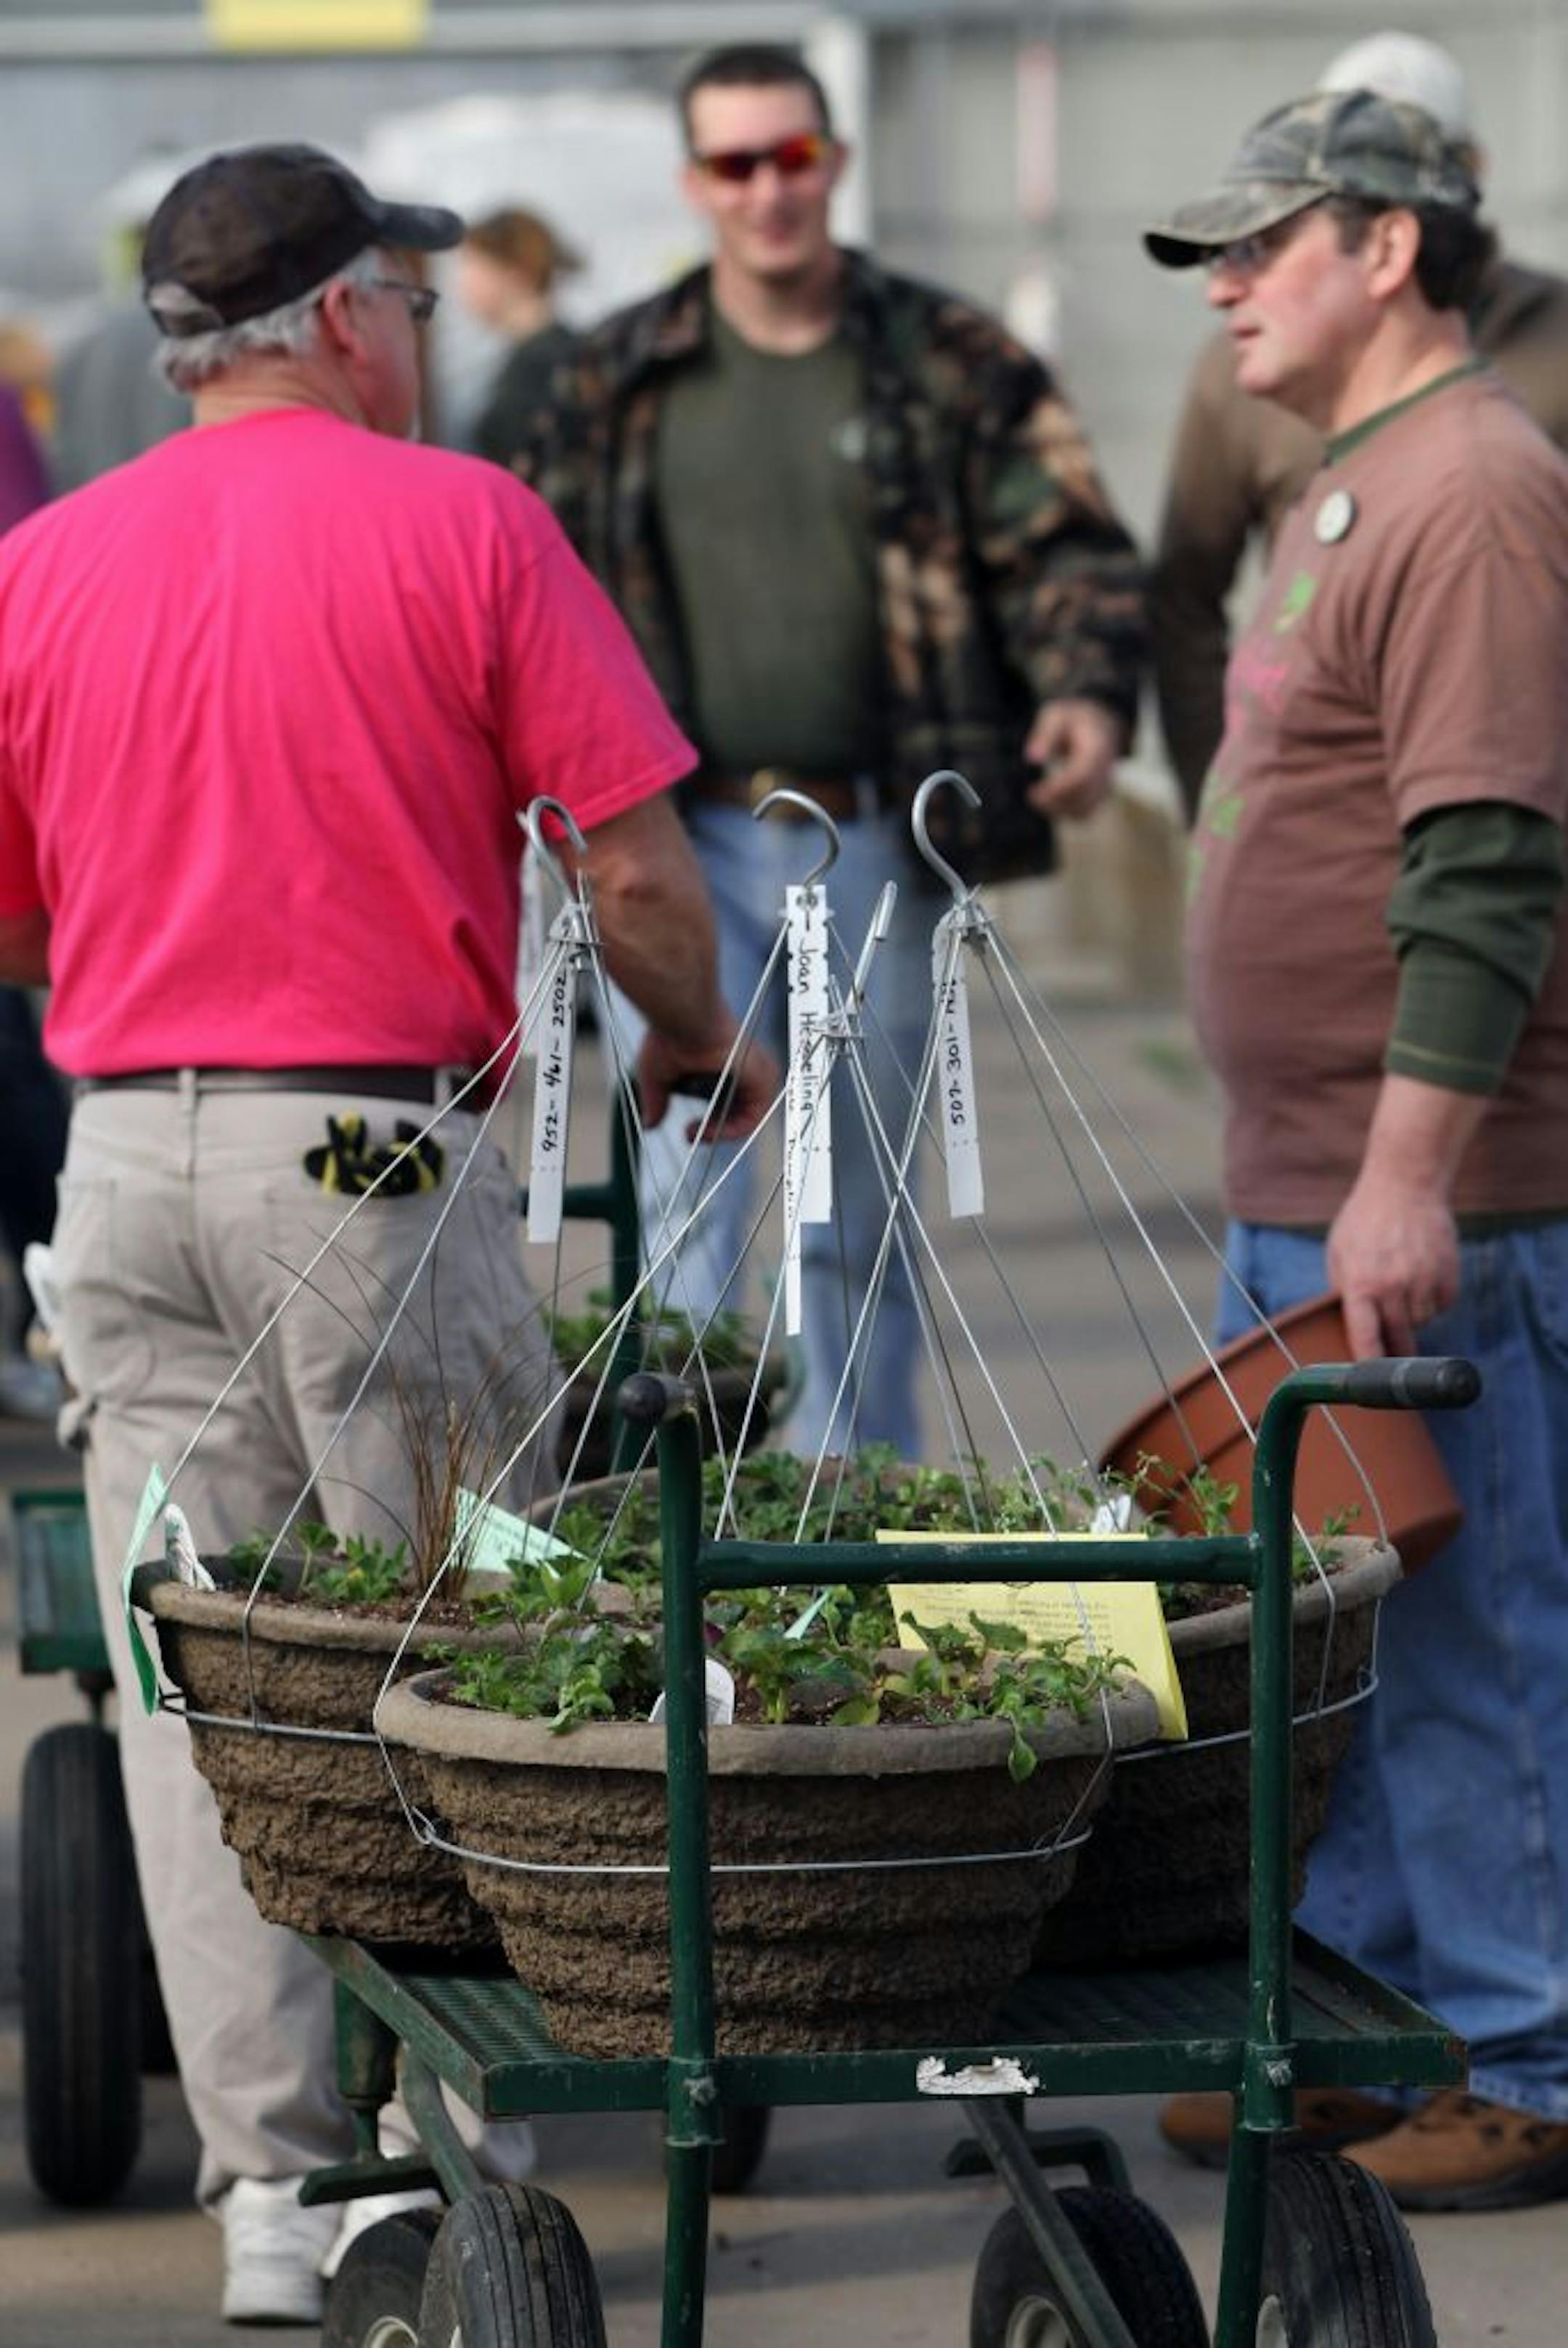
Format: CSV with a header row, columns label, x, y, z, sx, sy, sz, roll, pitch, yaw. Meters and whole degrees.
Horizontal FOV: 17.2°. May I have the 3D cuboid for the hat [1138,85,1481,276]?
label,x,y,z,sx,sy,sz,roll,pitch,yaw
hat,0.492,-0.930,4.878,0.236,0.136,0.160,1,2,0

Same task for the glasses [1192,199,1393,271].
label,x,y,z,sx,sy,sz,roll,pitch,yaw
glasses,0.466,-0.876,4.856,0.217,0.069,0.073,8,20,40

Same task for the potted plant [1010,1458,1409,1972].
label,x,y,z,sx,sy,sz,roll,pitch,yaw
potted plant,0.301,0.499,4.293,0.388,0.303,0.397,-6,2,29

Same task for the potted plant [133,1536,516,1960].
label,x,y,z,sx,sy,sz,roll,pitch,yaw
potted plant,-0.403,0.464,4.170,0.267,0.223,0.285,0,-4,1

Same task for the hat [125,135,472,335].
label,x,y,z,sx,sy,sz,roll,pitch,yaw
hat,-0.448,-0.847,4.682,0.224,0.116,0.145,-27,28,-22

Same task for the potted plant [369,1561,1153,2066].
label,x,y,z,sx,sy,sz,roll,pitch,yaw
potted plant,-0.021,0.536,4.085,0.638,0.330,0.687,1,0,23
